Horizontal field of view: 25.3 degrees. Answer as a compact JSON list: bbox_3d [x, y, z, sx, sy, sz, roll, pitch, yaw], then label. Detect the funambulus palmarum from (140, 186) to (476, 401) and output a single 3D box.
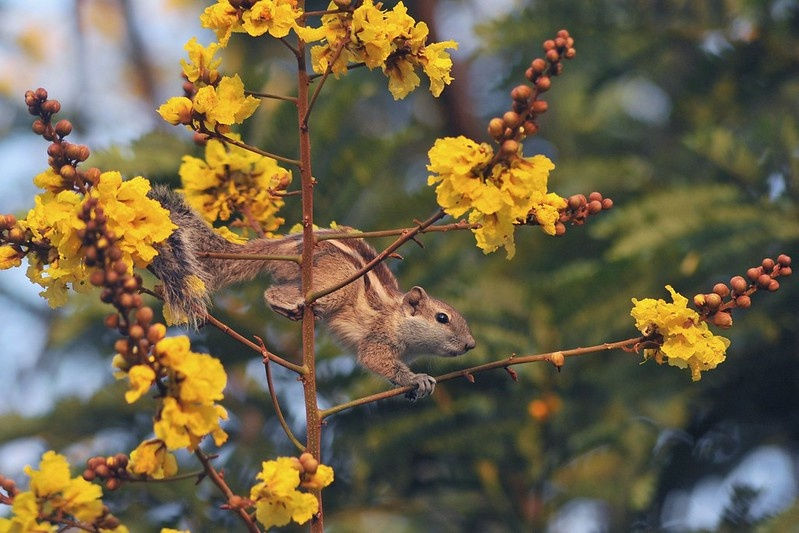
[{"bbox_3d":[-0.793,0.264,14.151,0.815,2.232,0.665,-65,12,-25],"label":"funambulus palmarum"}]
